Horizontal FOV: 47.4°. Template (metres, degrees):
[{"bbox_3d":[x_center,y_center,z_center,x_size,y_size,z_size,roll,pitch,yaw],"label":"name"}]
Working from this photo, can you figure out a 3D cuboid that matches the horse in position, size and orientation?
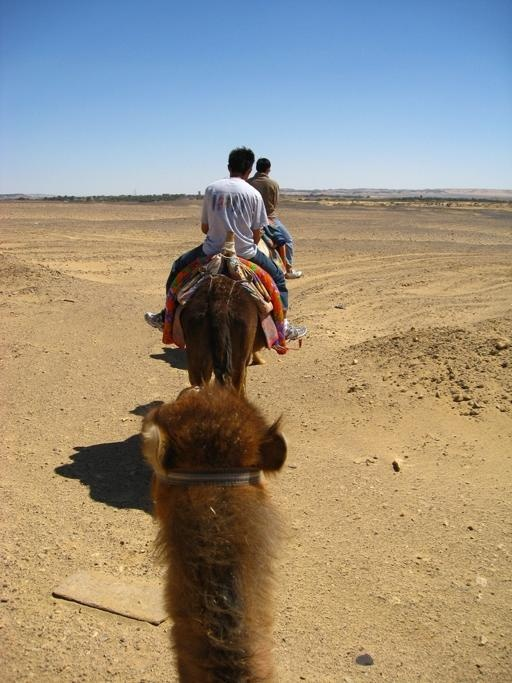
[{"bbox_3d":[-0.303,-0.228,5.113,0.929,1.380,1.131,1,11,1],"label":"horse"}]
